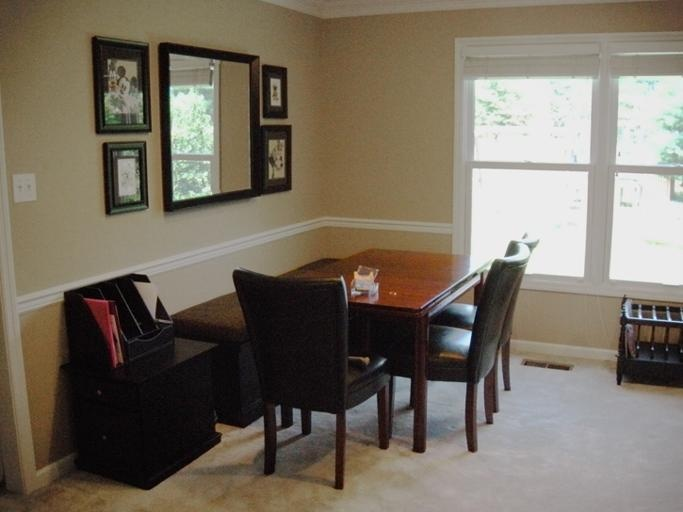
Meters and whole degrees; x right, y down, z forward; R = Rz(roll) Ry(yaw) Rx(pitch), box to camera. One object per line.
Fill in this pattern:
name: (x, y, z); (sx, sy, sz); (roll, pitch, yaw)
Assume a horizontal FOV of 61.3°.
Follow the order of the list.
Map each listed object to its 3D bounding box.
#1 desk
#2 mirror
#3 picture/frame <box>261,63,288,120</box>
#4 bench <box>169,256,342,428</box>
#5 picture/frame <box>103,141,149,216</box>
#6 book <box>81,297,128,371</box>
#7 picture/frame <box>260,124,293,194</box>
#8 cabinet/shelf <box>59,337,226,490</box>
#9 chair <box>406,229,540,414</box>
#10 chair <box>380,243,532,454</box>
desk: (0.248, 0.202, 3.486); (0.968, 0.773, 1.508); (3, 9, 26)
mirror: (-0.824, -0.838, 3.735); (0.071, 1.077, 1.035); (10, 16, 26)
picture/frame: (-0.506, -1.221, 4.233); (0.032, 0.456, 0.392); (5, 11, 27)
bench: (-0.546, 0.505, 3.768); (0.711, 0.566, 1.208); (-30, 11, -29)
picture/frame: (-1.209, -0.435, 3.182); (0.045, 0.474, 0.343); (7, 14, 28)
book: (-1.184, 0.387, 2.889); (0.271, 0.303, 0.085); (9, 11, 39)
picture/frame: (-0.504, -0.736, 4.307); (0.063, 0.620, 0.453); (10, 15, 33)
cabinet/shelf: (-1.104, 0.823, 3.143); (0.626, 0.613, 0.545); (3, 11, 36)
chair: (0.715, 0.506, 3.583); (0.735, 1.176, 0.607); (8, 15, 29)
chair: (0.670, 0.496, 3.428); (0.673, 1.098, 0.667); (4, 11, 21)
